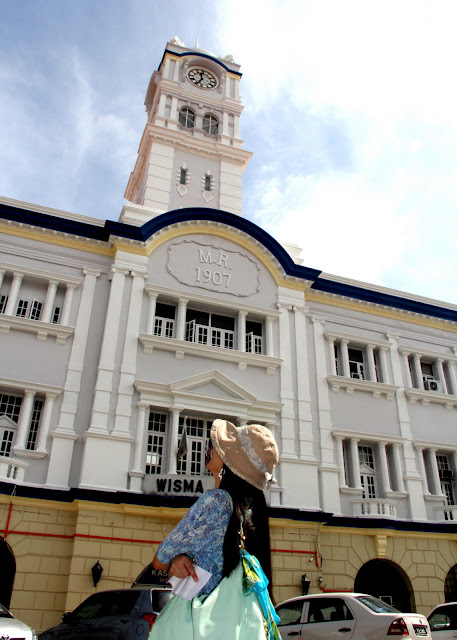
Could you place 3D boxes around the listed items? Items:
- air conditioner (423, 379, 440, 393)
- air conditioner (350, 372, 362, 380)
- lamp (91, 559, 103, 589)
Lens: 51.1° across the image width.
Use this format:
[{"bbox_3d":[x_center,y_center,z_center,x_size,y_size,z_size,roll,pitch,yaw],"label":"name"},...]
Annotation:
[{"bbox_3d":[9.463,2.994,22.362,0.830,0.712,0.265,11,-28,-20],"label":"air conditioner"},{"bbox_3d":[5.629,2.473,21.003,0.499,0.242,0.337,3,12,-1],"label":"air conditioner"},{"bbox_3d":[-3.756,7.327,13.706,0.372,0.686,0.195,16,-30,-27],"label":"lamp"}]
